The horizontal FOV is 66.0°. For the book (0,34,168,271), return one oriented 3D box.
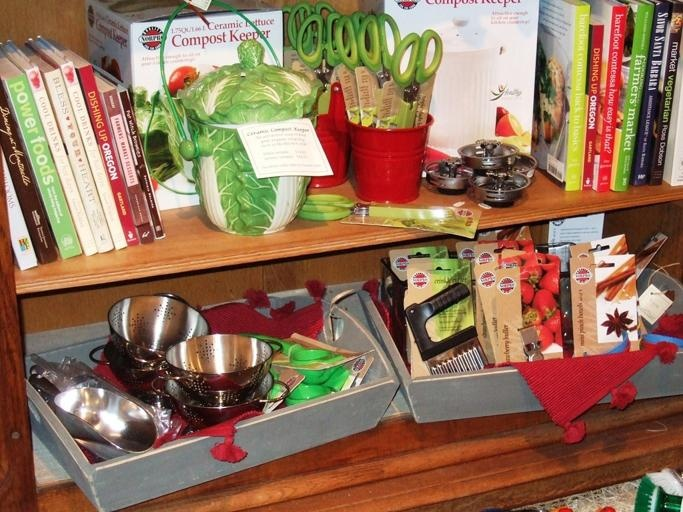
[{"bbox_3d":[-0.475,-0.180,0.965,0.218,0.347,0.383,-19,21,-18],"label":"book"}]

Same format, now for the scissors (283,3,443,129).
[{"bbox_3d":[0.047,-0.406,1.123,0.362,0.267,0.045,8,37,2],"label":"scissors"}]

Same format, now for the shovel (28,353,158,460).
[{"bbox_3d":[-0.539,0.308,1.116,0.362,0.083,0.144,36,33,28],"label":"shovel"}]

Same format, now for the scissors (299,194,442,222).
[{"bbox_3d":[0.068,-0.103,1.115,0.270,0.034,0.106,1,21,4],"label":"scissors"}]
